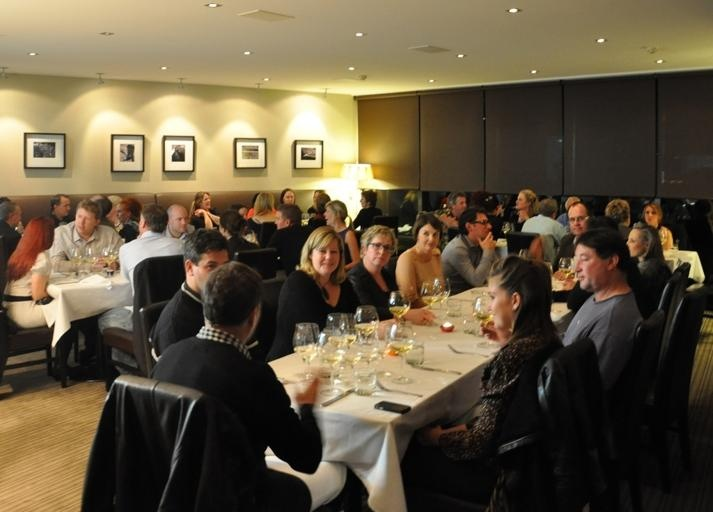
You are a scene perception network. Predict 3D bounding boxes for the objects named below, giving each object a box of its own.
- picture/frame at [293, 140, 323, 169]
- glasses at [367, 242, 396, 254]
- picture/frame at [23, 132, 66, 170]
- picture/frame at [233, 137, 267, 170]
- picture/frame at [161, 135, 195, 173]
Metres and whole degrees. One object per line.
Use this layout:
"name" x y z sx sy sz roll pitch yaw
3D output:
"picture/frame" -1.098 -2.213 10.866 0.622 0.565 0.080 -4 11 -34
"glasses" 0.182 -0.065 3.514 0.192 0.078 0.150 -3 9 -17
"picture/frame" -5.322 -1.792 8.481 0.647 0.625 0.082 1 2 -31
"picture/frame" -2.227 -2.112 10.248 0.655 0.640 0.106 -3 15 -31
"picture/frame" -3.441 -1.962 9.568 0.662 0.809 0.098 -6 9 -39
